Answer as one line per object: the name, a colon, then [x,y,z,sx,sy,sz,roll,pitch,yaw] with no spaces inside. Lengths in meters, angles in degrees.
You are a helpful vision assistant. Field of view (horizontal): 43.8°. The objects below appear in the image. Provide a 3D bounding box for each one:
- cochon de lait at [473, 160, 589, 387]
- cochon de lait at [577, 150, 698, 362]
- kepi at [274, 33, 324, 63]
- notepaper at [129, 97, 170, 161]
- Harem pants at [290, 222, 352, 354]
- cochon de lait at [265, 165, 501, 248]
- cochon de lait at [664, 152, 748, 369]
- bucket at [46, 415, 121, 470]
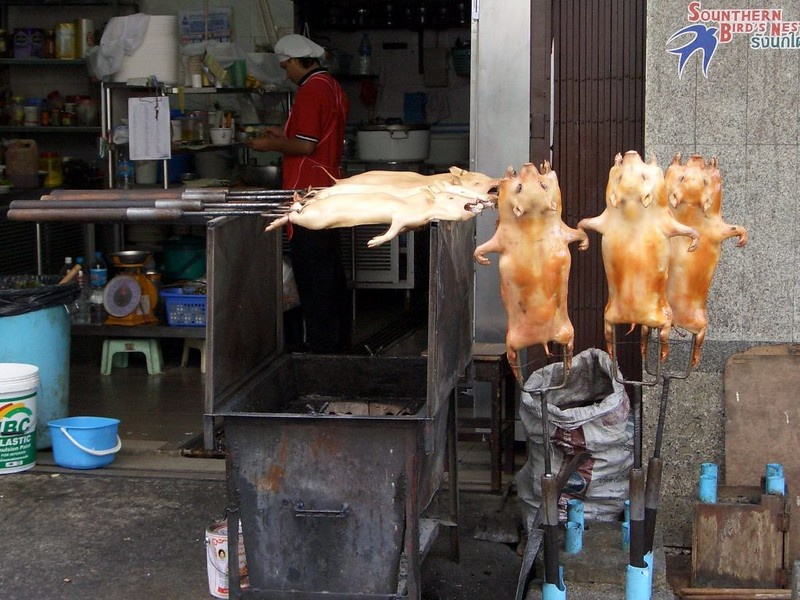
cochon de lait: [0.516,-0.109,3.878,0.518,0.818,0.313,-2,10,7]
cochon de lait: [0.877,-0.166,3.788,0.473,0.721,0.294,0,13,16]
kepi: [-0.756,-1.749,7.057,0.256,0.105,0.238,-7,11,-28]
notepaper: [-1.706,-1.137,6.746,0.387,0.419,0.171,6,9,38]
Harem pants: [-0.591,-0.093,7.091,0.391,1.194,0.319,-3,-23,5]
cochon de lait: [-0.055,-0.378,4.151,0.958,0.289,0.725,0,6,-1]
cochon de lait: [1.175,-0.172,3.984,0.426,0.775,0.300,2,14,11]
bucket: [-1.948,0.859,6.117,0.374,0.214,0.368,2,-4,0]
